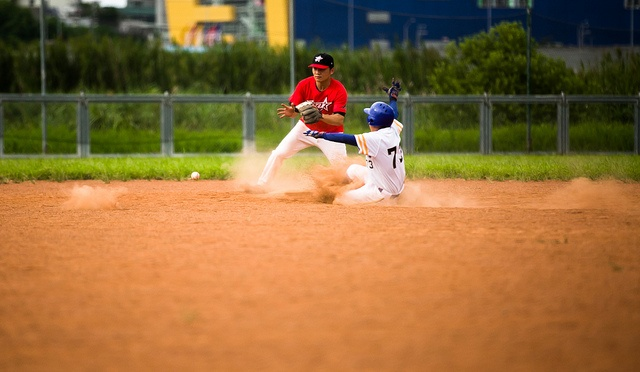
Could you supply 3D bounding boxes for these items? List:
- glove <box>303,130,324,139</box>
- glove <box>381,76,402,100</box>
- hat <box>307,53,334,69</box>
[{"bbox_3d":[-0.155,-1.176,21.648,0.364,0.169,0.635,-3,9,-23],"label":"glove"},{"bbox_3d":[1.740,-2.293,22.597,0.422,0.646,0.262,-5,6,5],"label":"glove"},{"bbox_3d":[0.094,-2.893,22.326,0.327,0.294,0.463,17,6,39],"label":"hat"}]
